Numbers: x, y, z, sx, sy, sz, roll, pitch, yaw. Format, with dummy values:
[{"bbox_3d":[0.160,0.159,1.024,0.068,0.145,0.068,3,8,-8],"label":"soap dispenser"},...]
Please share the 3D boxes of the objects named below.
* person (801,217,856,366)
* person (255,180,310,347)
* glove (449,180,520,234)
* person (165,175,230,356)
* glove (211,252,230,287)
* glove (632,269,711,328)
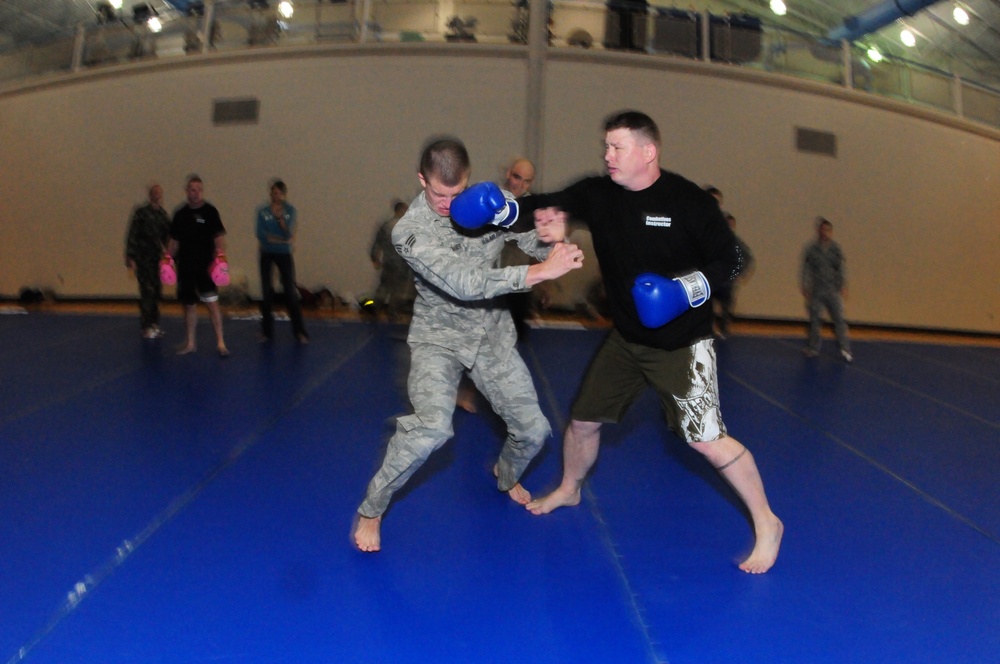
[{"bbox_3d":[3.500,-0.434,7.210,0.590,1.452,0.816,7,17,24],"label":"person"},{"bbox_3d":[-2.308,-0.710,7.059,0.457,1.640,0.474,-6,17,-20],"label":"person"},{"bbox_3d":[-0.070,-0.592,3.246,0.329,0.199,0.155,-18,0,-39],"label":"glove"},{"bbox_3d":[-2.838,-0.610,6.352,0.554,1.635,0.553,-2,16,-4],"label":"person"},{"bbox_3d":[-2.613,-0.576,6.303,0.146,0.299,0.231,-8,18,-24],"label":"glove"},{"bbox_3d":[0.770,-0.154,3.017,0.316,0.231,0.138,-15,0,-2],"label":"glove"}]
